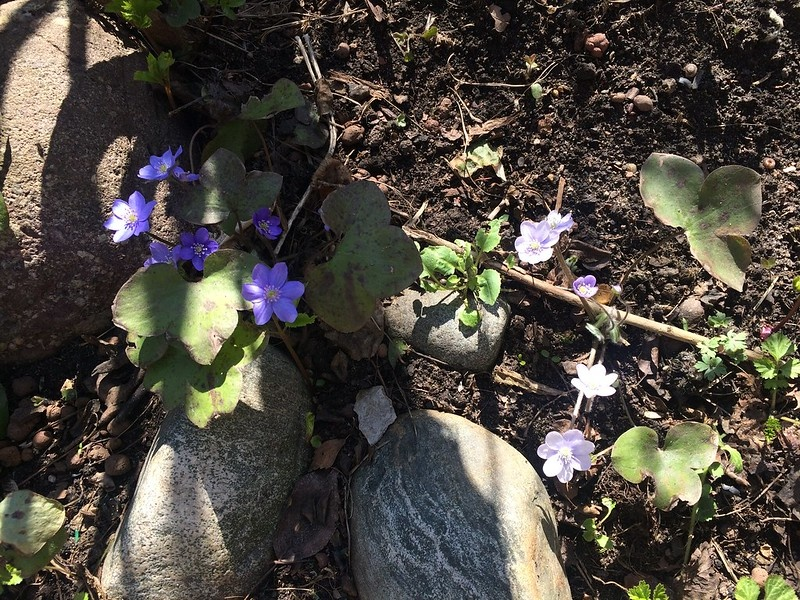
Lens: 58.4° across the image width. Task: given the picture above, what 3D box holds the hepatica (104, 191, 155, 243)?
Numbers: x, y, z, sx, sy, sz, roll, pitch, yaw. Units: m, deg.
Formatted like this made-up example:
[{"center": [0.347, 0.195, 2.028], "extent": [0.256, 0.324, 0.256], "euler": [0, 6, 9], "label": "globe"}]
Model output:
[{"center": [-1.189, -0.376, 3.105], "extent": [0.232, 0.217, 0.130], "euler": [41, 30, 30], "label": "hepatica"}]

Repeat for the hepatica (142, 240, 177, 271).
[{"center": [-1.077, -0.198, 3.202], "extent": [0.138, 0.160, 0.058], "euler": [-2, 4, -18], "label": "hepatica"}]

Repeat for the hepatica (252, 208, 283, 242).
[{"center": [-0.611, -0.347, 3.283], "extent": [0.053, 0.130, 0.127], "euler": [5, -28, 46], "label": "hepatica"}]

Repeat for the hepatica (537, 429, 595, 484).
[{"center": [0.758, 0.710, 3.249], "extent": [0.237, 0.275, 0.110], "euler": [3, 6, 14], "label": "hepatica"}]

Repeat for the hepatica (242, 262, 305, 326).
[{"center": [-0.535, -0.031, 2.969], "extent": [0.260, 0.273, 0.080], "euler": [-1, 48, 12], "label": "hepatica"}]

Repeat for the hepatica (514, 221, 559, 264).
[{"center": [0.610, -0.259, 3.253], "extent": [0.176, 0.197, 0.083], "euler": [25, 13, 24], "label": "hepatica"}]

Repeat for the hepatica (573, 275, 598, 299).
[{"center": [0.867, -0.049, 3.345], "extent": [0.088, 0.118, 0.063], "euler": [3, -5, 14], "label": "hepatica"}]

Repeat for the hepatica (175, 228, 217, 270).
[{"center": [-0.915, -0.228, 3.225], "extent": [0.231, 0.197, 0.056], "euler": [32, 33, -56], "label": "hepatica"}]
